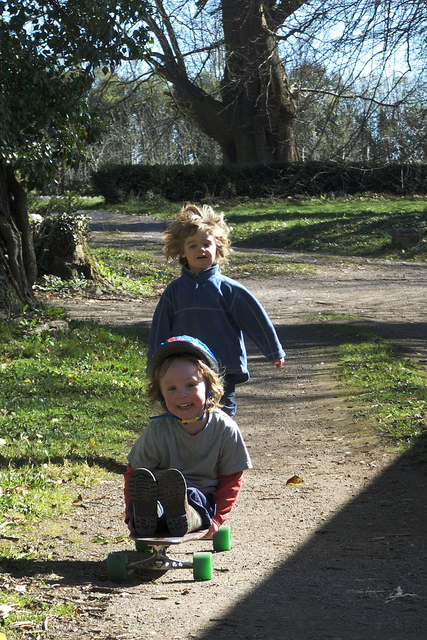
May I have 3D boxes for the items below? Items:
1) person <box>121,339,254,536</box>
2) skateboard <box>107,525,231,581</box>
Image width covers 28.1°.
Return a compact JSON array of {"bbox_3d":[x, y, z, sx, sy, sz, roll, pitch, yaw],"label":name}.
[{"bbox_3d":[-0.120,0.591,4.021,0.597,0.964,0.628,1,11,-3],"label":"person"},{"bbox_3d":[-0.211,1.094,4.135,0.482,0.219,0.777,-2,-4,6],"label":"skateboard"}]
